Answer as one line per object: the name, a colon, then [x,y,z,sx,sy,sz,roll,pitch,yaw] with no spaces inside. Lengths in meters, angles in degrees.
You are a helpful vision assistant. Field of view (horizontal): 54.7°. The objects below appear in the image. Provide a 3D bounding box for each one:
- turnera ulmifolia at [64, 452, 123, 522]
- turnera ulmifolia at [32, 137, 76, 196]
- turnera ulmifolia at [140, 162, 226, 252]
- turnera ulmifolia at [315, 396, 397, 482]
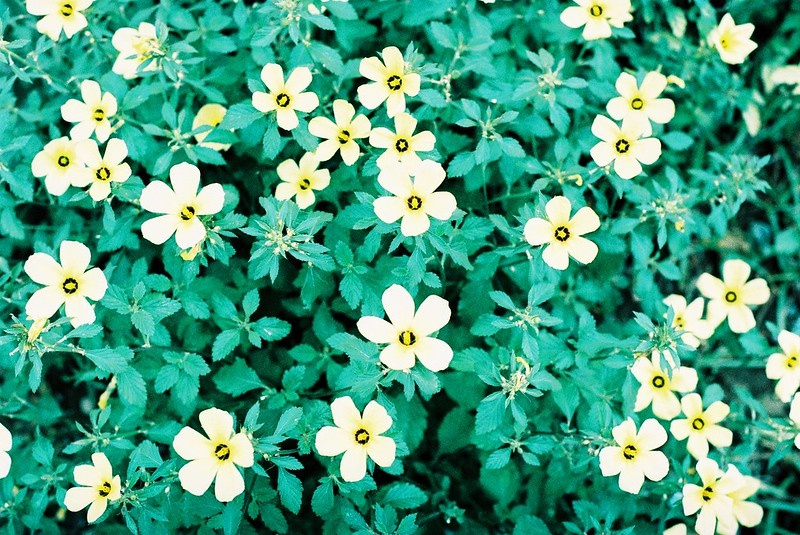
turnera ulmifolia: [-2.005,1.438,5.079,0.384,0.194,0.446,11,79,-15]
turnera ulmifolia: [-2.352,-0.716,5.351,0.251,0.165,0.338,38,72,19]
turnera ulmifolia: [-1.378,-0.372,5.070,0.554,0.586,0.245,-21,61,-13]
turnera ulmifolia: [-0.228,1.053,4.875,0.456,0.500,0.162,28,107,28]
